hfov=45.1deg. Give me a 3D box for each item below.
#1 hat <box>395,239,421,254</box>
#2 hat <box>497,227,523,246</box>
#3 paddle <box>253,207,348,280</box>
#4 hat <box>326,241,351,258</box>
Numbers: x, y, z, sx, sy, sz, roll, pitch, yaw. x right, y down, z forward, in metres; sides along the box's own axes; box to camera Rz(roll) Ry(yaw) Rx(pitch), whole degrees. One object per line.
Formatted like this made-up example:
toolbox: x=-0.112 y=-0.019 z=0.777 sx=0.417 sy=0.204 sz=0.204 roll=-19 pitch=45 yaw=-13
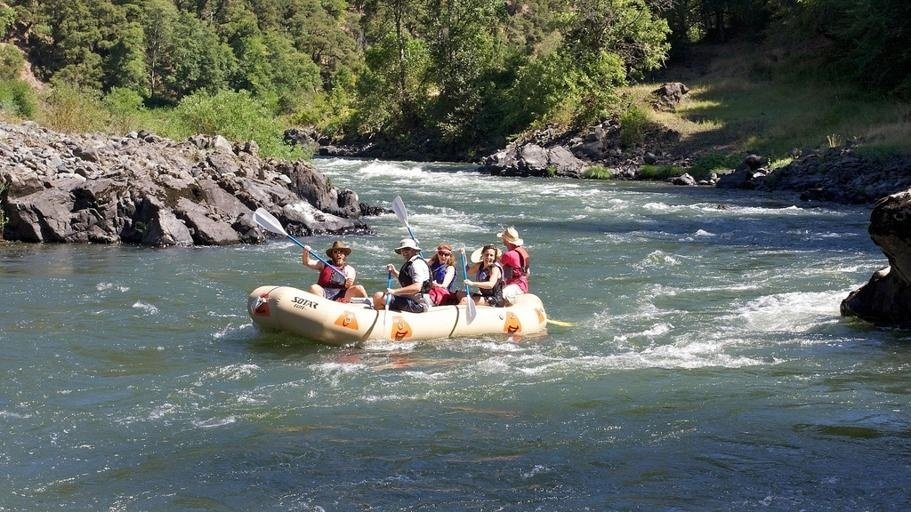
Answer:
hat: x=-1.533 y=-0.293 z=35.263 sx=0.685 sy=0.278 sz=0.773 roll=-2 pitch=-14 yaw=2
hat: x=1.683 y=-0.534 z=35.246 sx=0.901 sy=0.311 sz=0.736 roll=25 pitch=17 yaw=22
paddle: x=-5.658 y=-0.361 z=38.831 sx=3.843 sy=0.677 sz=0.196 roll=34 pitch=-22 yaw=12
hat: x=-3.825 y=-0.199 z=35.671 sx=0.690 sy=0.244 sz=0.695 roll=0 pitch=-20 yaw=-5
